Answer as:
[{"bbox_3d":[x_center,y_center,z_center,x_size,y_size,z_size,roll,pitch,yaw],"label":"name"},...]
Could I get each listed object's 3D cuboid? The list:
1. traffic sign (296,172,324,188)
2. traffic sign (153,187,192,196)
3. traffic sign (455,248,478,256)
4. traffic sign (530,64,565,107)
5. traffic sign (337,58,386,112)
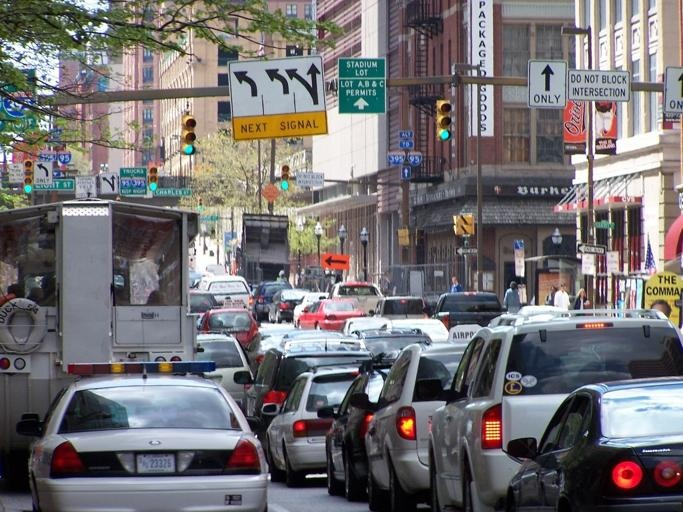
[{"bbox_3d":[-1.587,-3.724,75.068,1.167,0.698,2.637,0,-1,1],"label":"traffic sign"},{"bbox_3d":[-11.672,-4.375,107.553,2.448,0.567,1.697,0,-1,-16],"label":"traffic sign"},{"bbox_3d":[4.325,-0.147,54.621,0.374,0.239,1.619,4,-1,37],"label":"traffic sign"},{"bbox_3d":[4.215,-3.536,32.153,0.733,1.011,0.133,0,3,-4],"label":"traffic sign"},{"bbox_3d":[0.432,-3.707,33.913,0.966,1.276,0.086,5,12,26],"label":"traffic sign"}]
